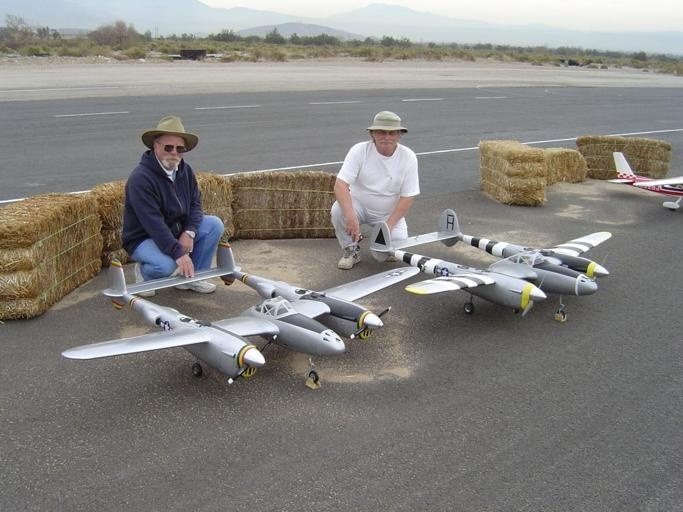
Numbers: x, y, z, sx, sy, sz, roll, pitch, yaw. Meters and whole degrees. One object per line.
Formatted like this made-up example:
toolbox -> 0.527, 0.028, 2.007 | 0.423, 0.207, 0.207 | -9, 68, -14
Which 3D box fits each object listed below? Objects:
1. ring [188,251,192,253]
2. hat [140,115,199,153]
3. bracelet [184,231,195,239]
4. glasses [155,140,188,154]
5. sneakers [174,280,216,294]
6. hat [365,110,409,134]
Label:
ring -> -2.310, -0.093, 8.630 | 0.047, 0.029, 0.011 | -3, -2, 20
hat -> -2.554, -1.976, 8.620 | 1.030, 0.314, 0.951 | 6, -13, -16
bracelet -> -2.278, -0.356, 8.605 | 0.129, 0.066, 0.131 | 39, 23, 20
glasses -> -2.422, -1.587, 8.275 | 0.131, 0.148, 0.322 | 10, 21, 27
sneakers -> -2.298, 0.470, 9.174 | 0.741, 0.227, 0.203 | 0, 17, 4
hat -> 0.740, -2.291, 9.604 | 0.587, 0.315, 0.720 | -1, 18, 0
